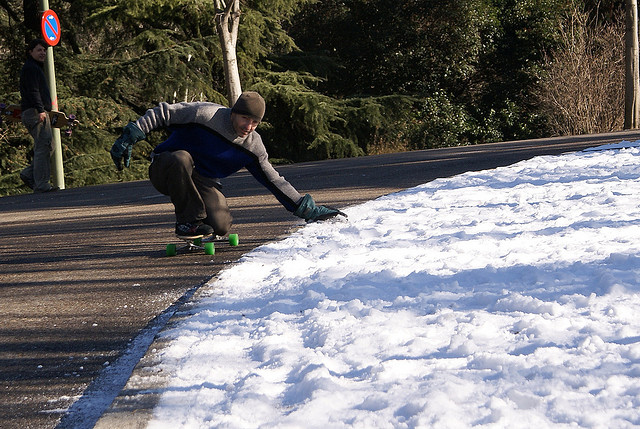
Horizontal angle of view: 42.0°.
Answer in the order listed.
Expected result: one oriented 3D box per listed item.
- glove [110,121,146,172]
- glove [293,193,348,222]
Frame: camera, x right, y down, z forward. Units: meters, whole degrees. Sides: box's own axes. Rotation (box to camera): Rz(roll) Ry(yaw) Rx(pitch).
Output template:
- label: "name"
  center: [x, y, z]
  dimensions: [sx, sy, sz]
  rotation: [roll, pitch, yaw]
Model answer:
- label: "glove"
  center: [-1.985, -0.697, 8.466]
  dimensions: [0.320, 0.475, 0.424]
  rotation: [-10, 10, -31]
- label: "glove"
  center: [0.066, -0.072, 9.082]
  dimensions: [0.695, 0.301, 0.225]
  rotation: [-1, 11, -18]
